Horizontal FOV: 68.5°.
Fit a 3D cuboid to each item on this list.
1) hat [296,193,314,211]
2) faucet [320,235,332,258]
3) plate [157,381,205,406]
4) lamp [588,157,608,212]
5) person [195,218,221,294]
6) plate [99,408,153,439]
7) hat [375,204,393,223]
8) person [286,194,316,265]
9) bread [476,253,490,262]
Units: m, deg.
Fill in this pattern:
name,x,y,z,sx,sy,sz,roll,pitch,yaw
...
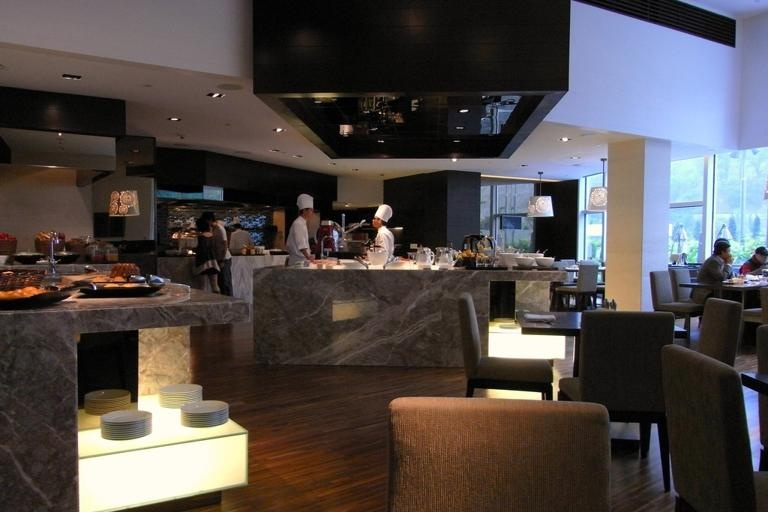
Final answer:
name,x,y,z,sx,sy,sz,roll,pitch,yaw
hat,-1.105,-0.747,7.986,0.194,0.205,0.356,-3,10,-13
faucet,-0.821,-0.113,8.106,0.168,0.312,0.424,-2,10,-6
plate,-1.228,0.848,3.410,0.244,0.116,0.223,-4,11,-20
lamp,4.170,-1.410,10.798,0.418,0.858,0.381,-1,10,-16
person,-2.808,-0.014,8.945,0.373,1.280,0.499,-4,12,-17
plate,-1.440,0.945,3.171,0.256,0.120,0.182,0,10,2
hat,-0.005,-0.638,8.741,0.184,0.239,0.503,1,10,6
person,-1.206,-0.363,8.073,0.384,0.992,1.521,-2,10,-8
bread,1.083,0.022,6.099,0.109,0.070,0.106,2,-3,-10
